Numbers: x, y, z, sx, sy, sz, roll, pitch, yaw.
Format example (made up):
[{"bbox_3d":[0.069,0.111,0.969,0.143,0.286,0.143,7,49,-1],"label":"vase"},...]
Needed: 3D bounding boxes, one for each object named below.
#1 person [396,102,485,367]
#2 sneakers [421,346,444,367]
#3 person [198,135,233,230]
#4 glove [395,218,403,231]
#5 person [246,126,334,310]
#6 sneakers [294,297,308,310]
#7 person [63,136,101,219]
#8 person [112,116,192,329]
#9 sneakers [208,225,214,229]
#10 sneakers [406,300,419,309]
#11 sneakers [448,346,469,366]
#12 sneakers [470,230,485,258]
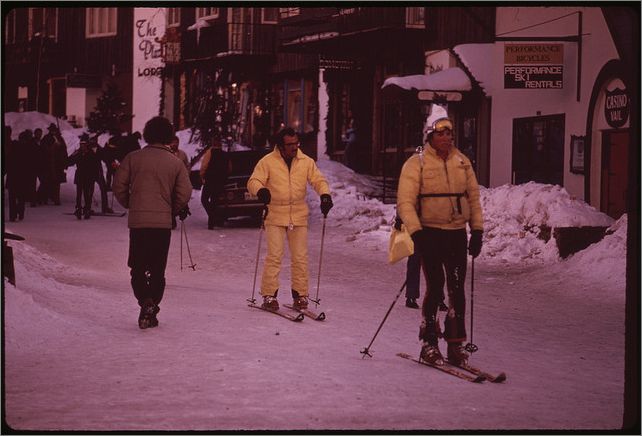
[{"bbox_3d":[1.383,0.274,8.264,0.989,2.924,0.601,1,4,8],"label":"person"},{"bbox_3d":[1.293,1.602,8.251,0.279,0.218,0.156,0,4,26],"label":"sneakers"},{"bbox_3d":[-3.015,-0.956,19.951,0.812,2.610,0.872,0,4,-8],"label":"person"},{"bbox_3d":[0.966,0.068,8.836,0.113,0.131,0.107,1,7,11],"label":"glove"},{"bbox_3d":[-0.503,0.039,10.549,1.188,2.759,0.625,0,4,-8],"label":"person"},{"bbox_3d":[-0.313,1.283,10.668,0.187,0.207,0.155,0,2,17],"label":"sneakers"},{"bbox_3d":[-7.407,-1.286,22.151,0.755,2.582,1.201,-1,4,-21],"label":"person"},{"bbox_3d":[-2.347,0.036,9.687,0.896,2.836,0.615,-3,5,-45],"label":"person"},{"bbox_3d":[-3.205,0.272,20.358,0.149,0.116,0.086,2,-9,-13],"label":"sneakers"},{"bbox_3d":[1.466,1.379,11.339,0.228,0.178,0.096,-2,0,24],"label":"sneakers"},{"bbox_3d":[1.639,1.597,8.324,0.184,0.273,0.255,-1,0,-36],"label":"sneakers"},{"bbox_3d":[1.791,0.291,8.226,0.173,0.330,0.073,4,-5,0],"label":"sneakers"}]
